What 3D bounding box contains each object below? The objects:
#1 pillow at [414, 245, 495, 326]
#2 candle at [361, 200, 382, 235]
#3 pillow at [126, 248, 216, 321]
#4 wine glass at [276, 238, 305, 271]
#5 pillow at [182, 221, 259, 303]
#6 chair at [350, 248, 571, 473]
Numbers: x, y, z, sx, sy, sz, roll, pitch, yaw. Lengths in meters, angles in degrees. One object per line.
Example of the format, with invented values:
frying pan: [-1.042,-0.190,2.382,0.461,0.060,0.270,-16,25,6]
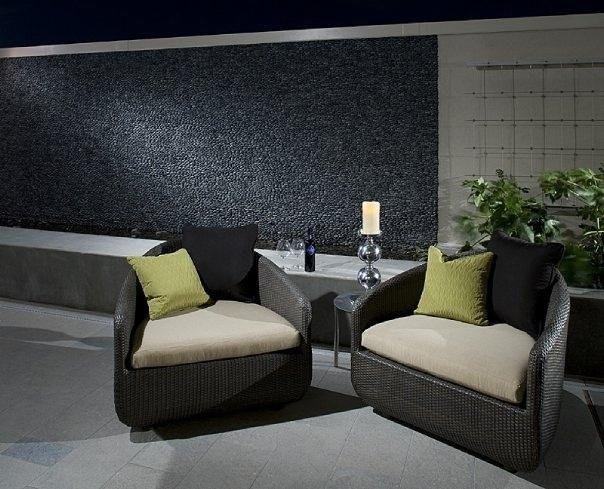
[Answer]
pillow: [0.821,0.220,2.388,0.186,0.379,0.456,3,2,-26]
candle: [0.413,-0.167,2.753,0.110,0.206,0.290,2,12,8]
pillow: [-0.732,0.201,2.485,0.414,0.355,0.127,-16,-19,-47]
wine glass: [-0.084,0.078,3.215,0.281,0.222,0.152,-1,2,-15]
pillow: [-0.485,0.124,2.681,0.537,0.469,0.181,-2,-19,-5]
chair: [0.790,0.446,2.166,0.662,0.862,0.952,-12,17,-43]
